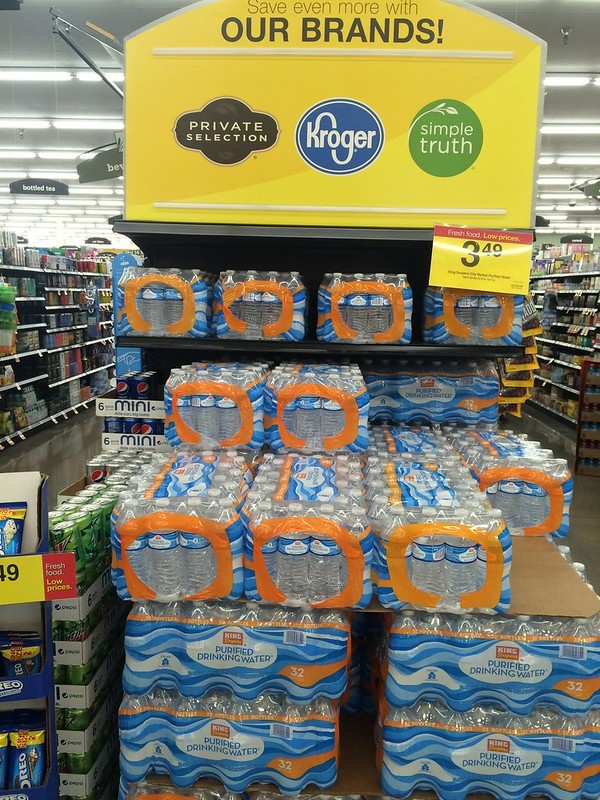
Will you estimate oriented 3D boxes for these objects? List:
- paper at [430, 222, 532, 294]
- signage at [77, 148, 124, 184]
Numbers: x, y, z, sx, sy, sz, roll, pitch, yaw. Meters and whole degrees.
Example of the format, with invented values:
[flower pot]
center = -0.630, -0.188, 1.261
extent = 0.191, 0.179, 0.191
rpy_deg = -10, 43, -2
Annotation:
[paper]
center = 0.669, -0.541, 2.298
extent = 0.276, 0.176, 0.003
rpy_deg = 3, 9, -3
[signage]
center = -1.805, -2.135, 5.571
extent = 0.365, 0.361, 0.642
rpy_deg = -4, 12, -16
